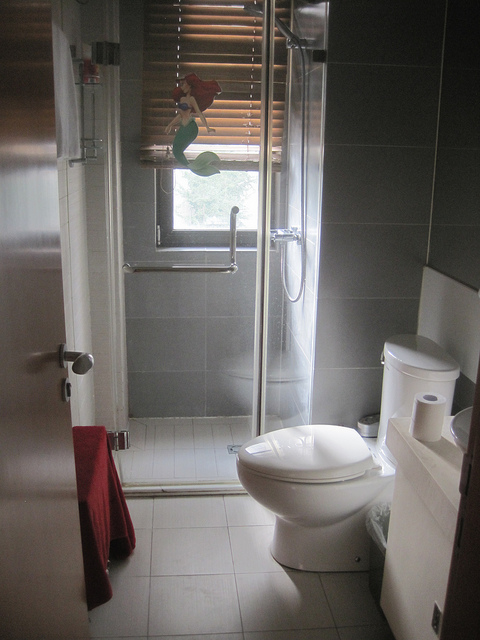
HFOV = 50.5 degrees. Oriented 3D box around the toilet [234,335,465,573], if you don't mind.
[{"bbox_3d":[0.332,0.451,1.820,0.557,0.857,0.467,1,25,-4],"label":"toilet"}]
